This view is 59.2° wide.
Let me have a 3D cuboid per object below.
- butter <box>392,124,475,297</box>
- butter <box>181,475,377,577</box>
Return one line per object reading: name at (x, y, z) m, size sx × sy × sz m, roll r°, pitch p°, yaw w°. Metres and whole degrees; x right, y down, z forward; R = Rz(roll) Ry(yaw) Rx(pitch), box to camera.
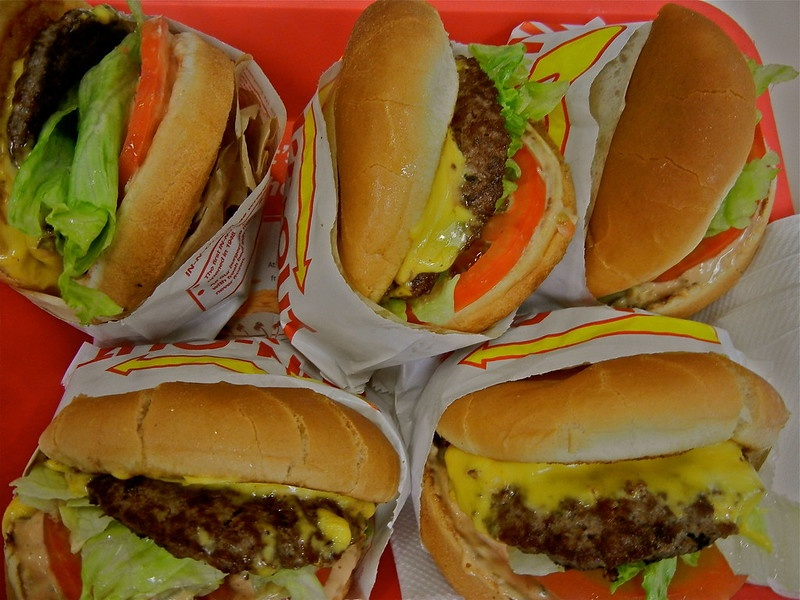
butter at (0.100, -0.214, 1.908) m, size 0.117 × 0.346 × 0.276 m, roll 11°, pitch 11°, yaw 1°
butter at (-0.277, 0.585, 1.843) m, size 0.353 × 0.103 × 0.289 m, roll 6°, pitch 33°, yaw -20°
